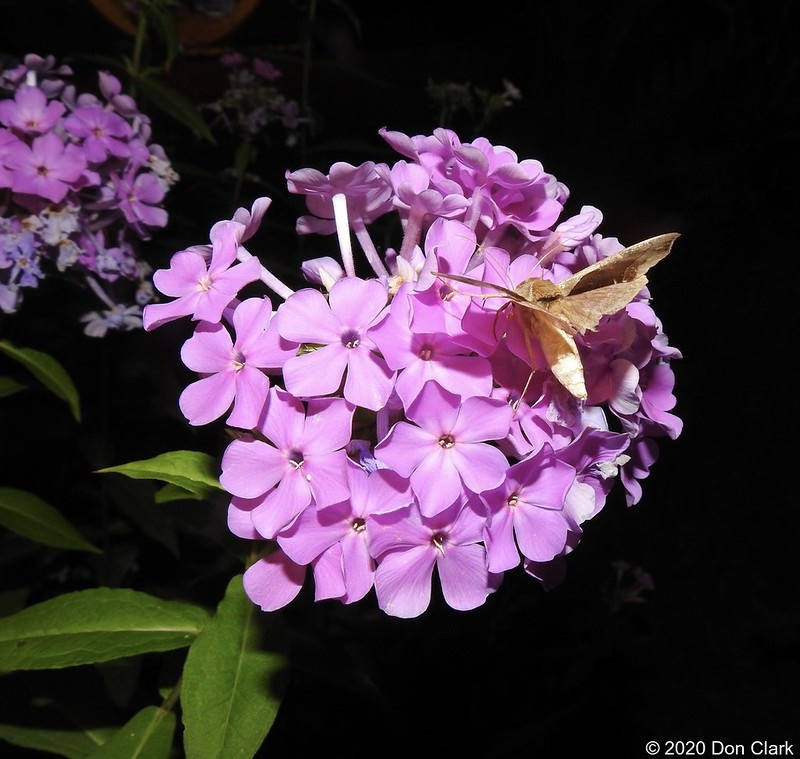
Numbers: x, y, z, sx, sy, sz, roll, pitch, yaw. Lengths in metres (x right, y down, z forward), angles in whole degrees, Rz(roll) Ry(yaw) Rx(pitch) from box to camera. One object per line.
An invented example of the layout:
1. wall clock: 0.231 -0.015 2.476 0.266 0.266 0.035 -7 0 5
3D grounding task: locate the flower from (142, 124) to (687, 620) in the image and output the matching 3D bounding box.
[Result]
1. flower: 0.043 0.017 1.550 0.886 0.382 0.763 12 84 1
